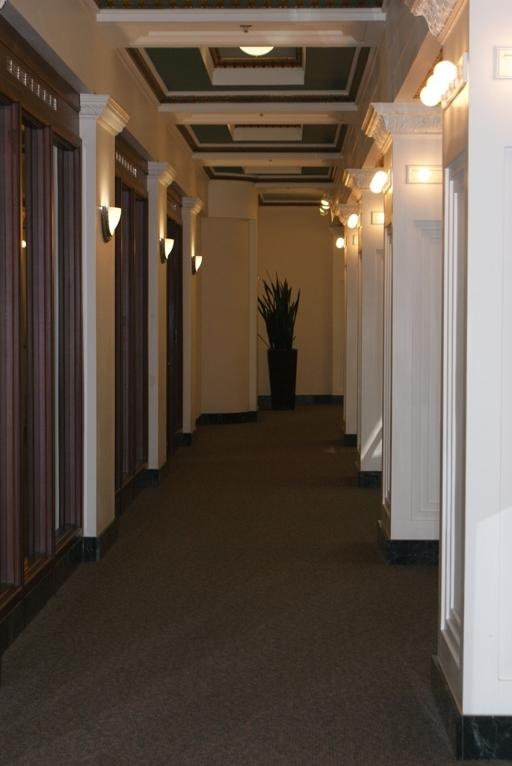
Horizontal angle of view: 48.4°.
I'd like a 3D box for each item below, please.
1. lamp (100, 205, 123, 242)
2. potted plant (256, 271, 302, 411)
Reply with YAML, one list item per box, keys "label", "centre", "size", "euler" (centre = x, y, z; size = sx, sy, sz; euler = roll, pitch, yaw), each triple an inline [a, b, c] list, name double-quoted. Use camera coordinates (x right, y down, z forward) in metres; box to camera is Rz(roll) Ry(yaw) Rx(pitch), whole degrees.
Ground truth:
- label: "lamp"
  centre: [-0.921, -0.995, 3.576]
  size: [0.101, 0.230, 0.306]
  euler: [0, -2, -10]
- label: "potted plant"
  centre: [0.419, -0.820, 10.648]
  size: [0.726, 2.644, 1.163]
  euler: [0, -2, 5]
